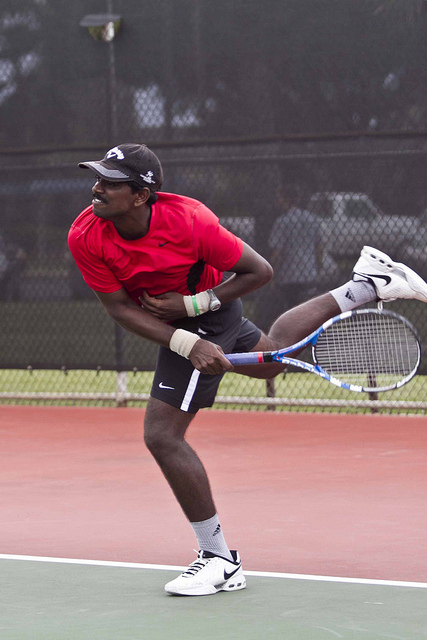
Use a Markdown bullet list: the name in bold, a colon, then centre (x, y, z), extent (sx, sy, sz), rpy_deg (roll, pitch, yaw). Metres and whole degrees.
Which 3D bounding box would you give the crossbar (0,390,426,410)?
- **crossbar**: centre (-0.051, 0.523, 4.354), extent (2.780, 0.141, 0.253), rpy_deg (-2, -12, 12)

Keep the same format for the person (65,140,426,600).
- **person**: centre (0.116, 0.213, 2.340), extent (1.511, 1.317, 0.631), rpy_deg (13, -17, -43)
